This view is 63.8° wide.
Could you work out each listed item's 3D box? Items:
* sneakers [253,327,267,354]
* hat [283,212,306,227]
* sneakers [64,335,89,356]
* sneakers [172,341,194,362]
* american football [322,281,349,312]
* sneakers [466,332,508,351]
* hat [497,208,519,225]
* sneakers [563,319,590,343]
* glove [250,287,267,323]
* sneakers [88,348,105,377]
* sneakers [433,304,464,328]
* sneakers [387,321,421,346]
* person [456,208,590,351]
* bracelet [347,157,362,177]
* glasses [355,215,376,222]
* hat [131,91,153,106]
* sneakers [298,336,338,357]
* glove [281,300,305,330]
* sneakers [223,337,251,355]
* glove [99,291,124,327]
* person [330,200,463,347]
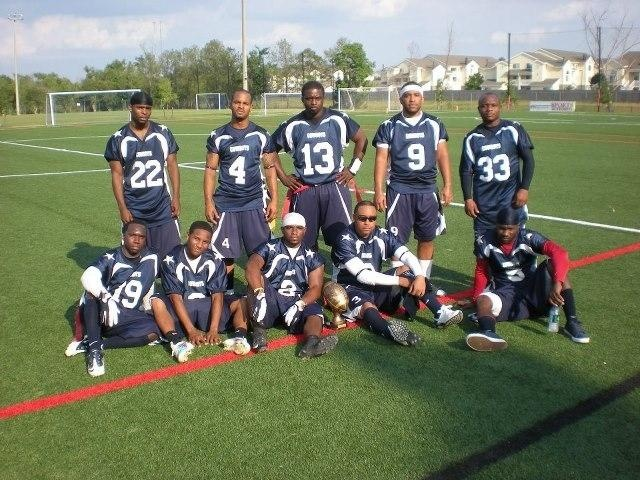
[{"bbox_3d":[-0.572,0.951,4.974,0.136,0.191,0.248,-3,16,-5],"label":"sneakers"},{"bbox_3d":[-0.249,-0.203,5.337,0.160,0.106,0.167,2,3,5],"label":"hat"},{"bbox_3d":[-2.343,1.019,4.969,0.207,0.111,0.216,-11,19,-29],"label":"sneakers"},{"bbox_3d":[-1.261,1.021,4.751,0.118,0.136,0.218,35,-16,-8],"label":"sneakers"},{"bbox_3d":[0.159,0.591,5.364,0.222,0.298,0.221,-22,0,-15],"label":"american football"},{"bbox_3d":[1.559,0.943,4.841,0.350,0.173,0.171,7,30,1],"label":"sneakers"},{"bbox_3d":[1.938,-0.255,5.278,0.142,0.174,0.205,10,30,28],"label":"hat"},{"bbox_3d":[2.518,0.873,5.027,0.224,0.193,0.227,6,18,25],"label":"sneakers"},{"bbox_3d":[-0.579,0.630,4.947,0.155,0.307,0.115,-1,-1,-4],"label":"glove"},{"bbox_3d":[-1.973,1.093,4.558,0.113,0.130,0.267,-2,4,-32],"label":"sneakers"},{"bbox_3d":[1.295,0.775,5.242,0.163,0.139,0.333,36,-25,-10],"label":"sneakers"},{"bbox_3d":[0.809,0.899,4.916,0.297,0.188,0.113,23,1,9],"label":"sneakers"},{"bbox_3d":[2.070,0.346,5.339,1.034,1.193,1.535,-5,12,11],"label":"person"},{"bbox_3d":[0.439,-0.904,6.225,0.147,0.268,0.065,22,-21,-2],"label":"bracelet"},{"bbox_3d":[0.502,-0.225,5.424,0.211,0.082,0.118,-2,16,-4],"label":"glasses"},{"bbox_3d":[-1.922,-1.530,5.580,0.214,0.153,0.227,-7,17,-19],"label":"hat"},{"bbox_3d":[0.001,0.978,4.825,0.412,0.168,0.209,-10,10,9],"label":"sneakers"},{"bbox_3d":[-0.253,0.737,5.134,0.161,0.259,0.071,39,-5,13],"label":"glove"},{"bbox_3d":[-0.758,0.980,4.849,0.151,0.096,0.206,7,1,0],"label":"sneakers"},{"bbox_3d":[-1.951,0.647,4.825,0.195,0.297,0.083,-5,6,-18],"label":"glove"},{"bbox_3d":[0.661,0.285,5.416,0.987,1.353,1.595,-26,35,-28],"label":"person"}]
